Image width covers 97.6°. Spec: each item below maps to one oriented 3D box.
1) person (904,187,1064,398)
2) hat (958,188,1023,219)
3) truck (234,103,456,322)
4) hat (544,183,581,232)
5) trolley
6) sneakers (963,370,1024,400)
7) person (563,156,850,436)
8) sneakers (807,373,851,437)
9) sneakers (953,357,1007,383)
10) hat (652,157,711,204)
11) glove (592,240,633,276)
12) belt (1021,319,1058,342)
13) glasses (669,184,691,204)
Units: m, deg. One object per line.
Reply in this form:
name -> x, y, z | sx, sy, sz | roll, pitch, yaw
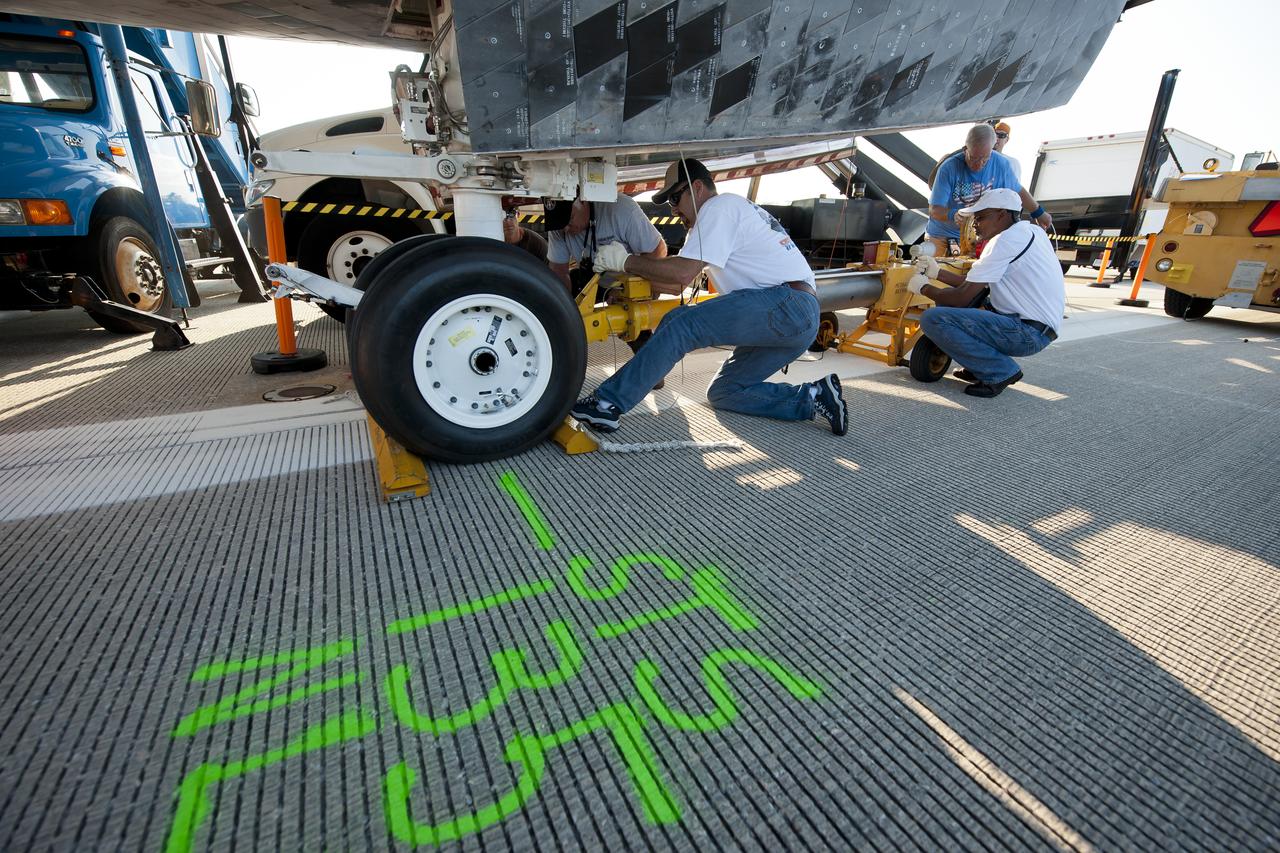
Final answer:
person -> 2.444, -0.961, 4.008 | 1.024, 1.283, 0.871 | 9, 24, 38
hat -> 2.428, -1.560, 3.793 | 0.261, 0.155, 0.286 | 9, 24, 22
truck -> -2.426, -1.724, 4.744 | 1.899, 1.837, 0.919 | 10, 27, 23
hat -> -0.526, -1.397, 3.535 | 0.232, 0.166, 0.346 | -1, 9, 15
trolley -> 1.940, -1.083, 4.593 | 2.064, 1.053, 0.950 | -12, 25, -30
sneakers -> 2.494, -0.302, 3.870 | 0.463, 0.181, 0.163 | 4, 26, 25
person -> 0.476, -0.715, 3.107 | 1.385, 1.478, 0.709 | -3, 25, -4
sneakers -> 1.104, -0.139, 3.208 | 0.187, 0.413, 0.147 | -31, 5, 24
sneakers -> 2.379, -0.403, 3.878 | 0.174, 0.188, 0.464 | -8, 8, -11
hat -> 0.242, -1.383, 3.096 | 0.310, 0.152, 0.200 | -6, 23, 10
glove -> -0.139, -0.947, 3.147 | 0.257, 0.120, 0.198 | 10, 51, 23
belt -> 2.771, -0.671, 3.856 | 0.218, 0.071, 0.153 | 21, 9, 2
glasses -> 0.226, -1.309, 3.102 | 0.080, 0.031, 0.058 | -40, -2, 7
